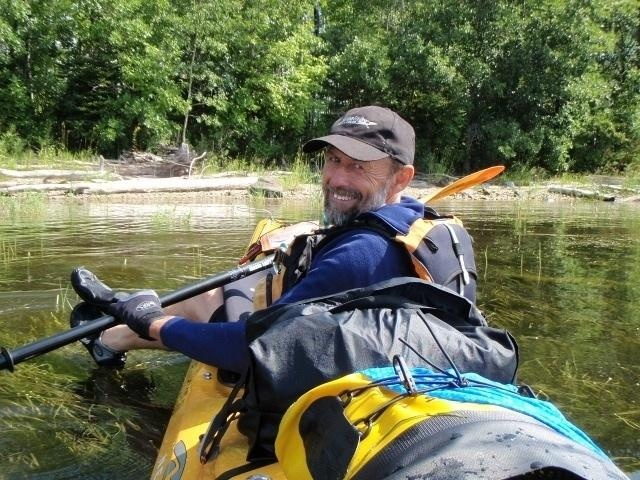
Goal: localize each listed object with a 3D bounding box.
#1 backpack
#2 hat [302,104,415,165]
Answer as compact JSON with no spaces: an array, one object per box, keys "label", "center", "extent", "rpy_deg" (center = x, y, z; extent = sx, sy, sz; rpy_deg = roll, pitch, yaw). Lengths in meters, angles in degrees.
[{"label":"backpack","center":[0.368,0.045,2.502],"extent":[0.612,0.527,0.392],"rpy_deg":[-3,7,7]},{"label":"hat","center":[0.210,-0.472,2.602],"extent":[0.420,0.211,0.297],"rpy_deg":[12,5,-30]}]
